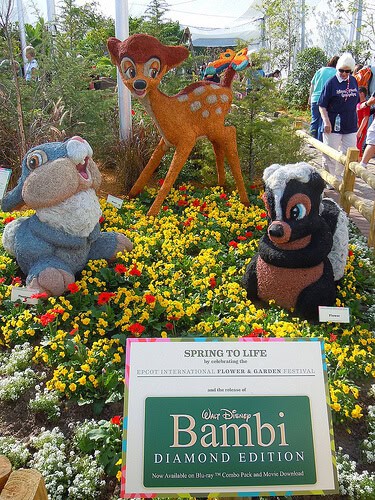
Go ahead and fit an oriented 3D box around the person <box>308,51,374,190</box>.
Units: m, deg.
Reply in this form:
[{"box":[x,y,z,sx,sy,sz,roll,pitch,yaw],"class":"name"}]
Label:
[{"box":[2.604,-2.410,6.317,0.731,1.614,0.427,-6,25,-14],"class":"person"}]
